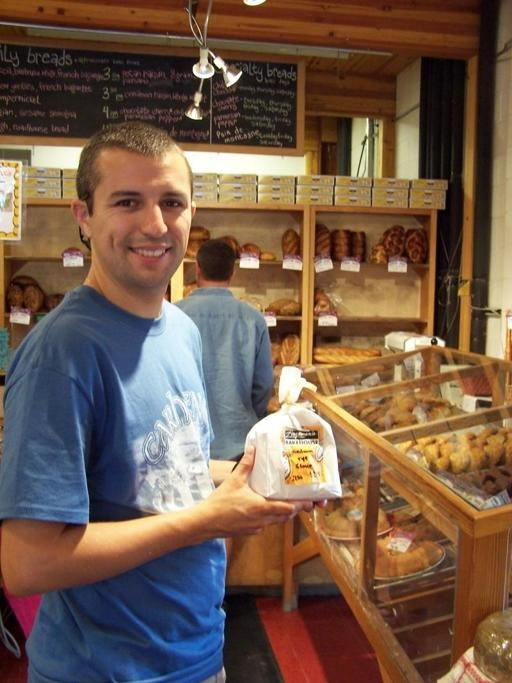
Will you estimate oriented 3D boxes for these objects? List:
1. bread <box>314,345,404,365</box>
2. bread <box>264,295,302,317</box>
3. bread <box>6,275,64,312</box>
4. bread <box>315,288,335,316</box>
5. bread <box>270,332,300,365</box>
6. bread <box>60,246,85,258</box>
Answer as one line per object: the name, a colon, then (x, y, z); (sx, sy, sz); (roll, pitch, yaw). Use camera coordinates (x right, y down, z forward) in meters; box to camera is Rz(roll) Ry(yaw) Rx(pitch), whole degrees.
bread: (0.654, 0.093, 3.876); (0.462, 0.118, 0.203); (1, -2, -7)
bread: (0.180, -0.247, 3.830); (0.192, 0.103, 0.253); (-3, 4, 7)
bread: (-1.498, -0.311, 3.669); (0.327, 0.242, 0.117); (19, 0, 7)
bread: (0.481, -0.275, 3.882); (0.191, 0.204, 0.112); (-3, -23, 0)
bread: (0.205, 0.052, 3.820); (0.165, 0.220, 0.067); (3, -6, 16)
bread: (-1.201, -0.600, 3.637); (0.129, 0.044, 0.143); (1, 9, -6)
